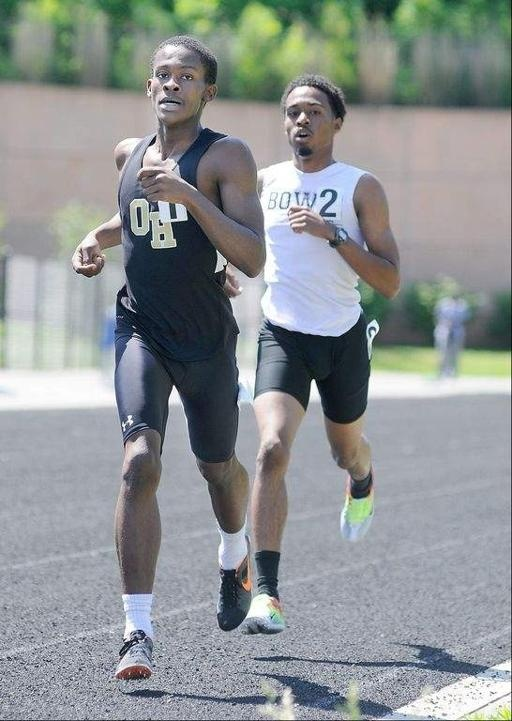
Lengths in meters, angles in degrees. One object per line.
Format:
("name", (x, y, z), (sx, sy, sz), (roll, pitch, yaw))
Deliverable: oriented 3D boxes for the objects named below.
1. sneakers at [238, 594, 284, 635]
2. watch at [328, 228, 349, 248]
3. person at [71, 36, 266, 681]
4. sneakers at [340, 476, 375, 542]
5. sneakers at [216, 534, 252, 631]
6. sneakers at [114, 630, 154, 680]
("sneakers", (0.027, 0.791, 3.086), (0.122, 0.095, 0.156), (1, 13, 6))
("watch", (0.304, -0.455, 3.667), (0.039, 0.058, 0.060), (44, 45, 5))
("person", (-0.248, 0.040, 3.212), (0.581, 2.133, 1.147), (-2, 13, -8))
("sneakers", (0.479, 0.695, 4.686), (0.120, 0.300, 0.125), (8, 9, 4))
("sneakers", (-0.068, 0.796, 3.443), (0.096, 0.266, 0.109), (-1, -17, 6))
("sneakers", (-0.328, 0.838, 2.723), (0.091, 0.154, 0.149), (-1, 13, -2))
